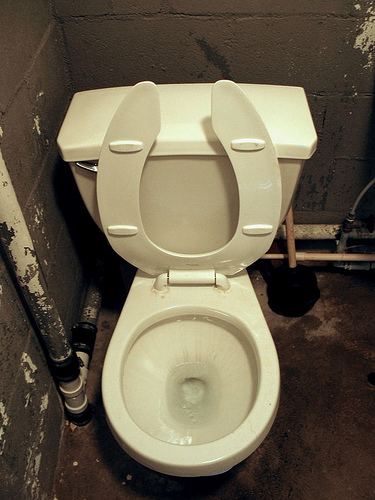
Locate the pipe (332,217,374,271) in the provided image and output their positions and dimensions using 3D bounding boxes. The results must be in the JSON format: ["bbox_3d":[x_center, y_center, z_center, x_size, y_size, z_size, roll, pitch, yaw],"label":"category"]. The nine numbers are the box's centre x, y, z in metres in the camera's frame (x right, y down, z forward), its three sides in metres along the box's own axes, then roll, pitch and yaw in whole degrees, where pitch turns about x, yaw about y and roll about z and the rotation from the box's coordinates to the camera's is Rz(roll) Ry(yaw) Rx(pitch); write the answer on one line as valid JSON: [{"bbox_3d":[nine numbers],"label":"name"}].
[{"bbox_3d":[0.634,-0.023,1.760,0.171,0.225,0.050,-2,54,-1],"label":"pipe"}]

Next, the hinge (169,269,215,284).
[{"bbox_3d":[0.011,0.074,1.260,0.139,0.036,0.034,2,59,5],"label":"hinge"}]

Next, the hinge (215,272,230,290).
[{"bbox_3d":[0.097,0.085,1.264,0.048,0.046,0.034,0,23,24],"label":"hinge"}]

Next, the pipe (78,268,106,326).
[{"bbox_3d":[-0.330,0.157,1.581,0.061,0.059,0.252,-1,44,10],"label":"pipe"}]

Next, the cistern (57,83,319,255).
[{"bbox_3d":[-0.002,-0.143,1.242,0.677,0.458,0.387,1,53,0],"label":"cistern"}]

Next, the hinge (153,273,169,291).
[{"bbox_3d":[-0.074,0.086,1.284,0.053,0.052,0.032,-4,31,-5],"label":"hinge"}]
